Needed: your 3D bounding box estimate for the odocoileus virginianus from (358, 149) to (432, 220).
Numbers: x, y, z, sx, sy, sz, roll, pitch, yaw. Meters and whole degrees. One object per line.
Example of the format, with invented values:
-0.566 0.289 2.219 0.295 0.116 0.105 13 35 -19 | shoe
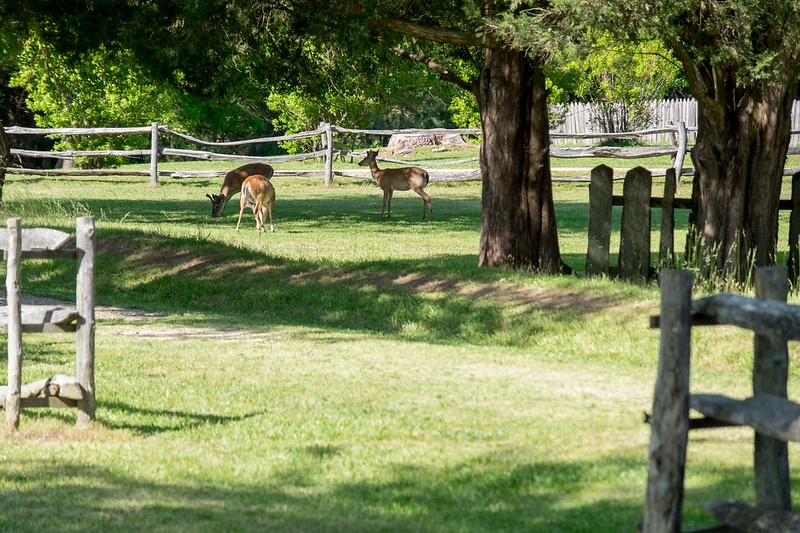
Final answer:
-0.110 -2.272 39.220 2.369 1.905 0.563 5 3 26 | odocoileus virginianus
